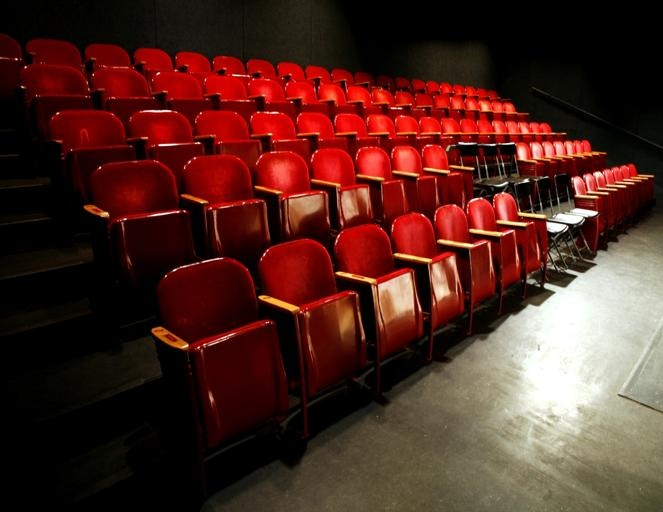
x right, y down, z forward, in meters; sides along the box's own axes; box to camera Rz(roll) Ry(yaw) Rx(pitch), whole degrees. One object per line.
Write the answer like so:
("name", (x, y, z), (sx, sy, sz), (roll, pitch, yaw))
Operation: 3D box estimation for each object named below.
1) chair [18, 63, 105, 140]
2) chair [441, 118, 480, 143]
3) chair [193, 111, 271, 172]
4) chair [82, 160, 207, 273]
("chair", (-2.090, -1.330, 3.700), (0.484, 0.504, 0.391), (-26, 23, -28))
("chair", (1.245, -1.213, 4.627), (0.143, 0.202, 0.507), (4, 14, 33))
("chair", (-0.568, -0.641, 2.696), (0.396, 0.509, 0.284), (-9, 13, -36))
("chair", (-0.810, -0.147, 2.061), (0.434, 0.518, 0.368), (-11, 14, -29))
